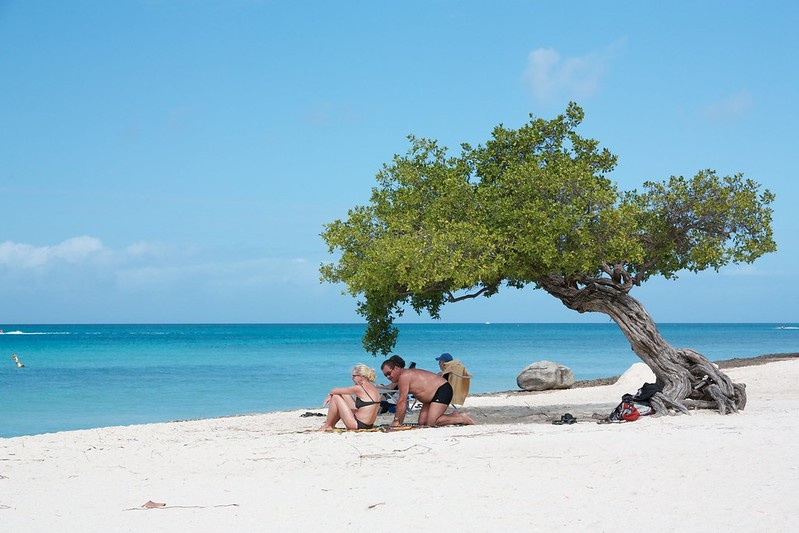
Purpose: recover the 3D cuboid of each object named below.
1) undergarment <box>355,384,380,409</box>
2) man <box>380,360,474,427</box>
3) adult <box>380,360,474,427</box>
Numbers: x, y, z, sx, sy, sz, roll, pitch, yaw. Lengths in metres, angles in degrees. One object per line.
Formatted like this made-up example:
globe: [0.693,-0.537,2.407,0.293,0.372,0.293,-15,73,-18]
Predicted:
undergarment: [-0.830,3.467,23.155,0.642,0.609,0.423,8,-17,7]
man: [0.771,3.413,23.826,2.448,1.915,1.204,-3,-4,1]
adult: [0.755,3.401,23.845,2.371,1.894,1.203,-2,-5,-1]
